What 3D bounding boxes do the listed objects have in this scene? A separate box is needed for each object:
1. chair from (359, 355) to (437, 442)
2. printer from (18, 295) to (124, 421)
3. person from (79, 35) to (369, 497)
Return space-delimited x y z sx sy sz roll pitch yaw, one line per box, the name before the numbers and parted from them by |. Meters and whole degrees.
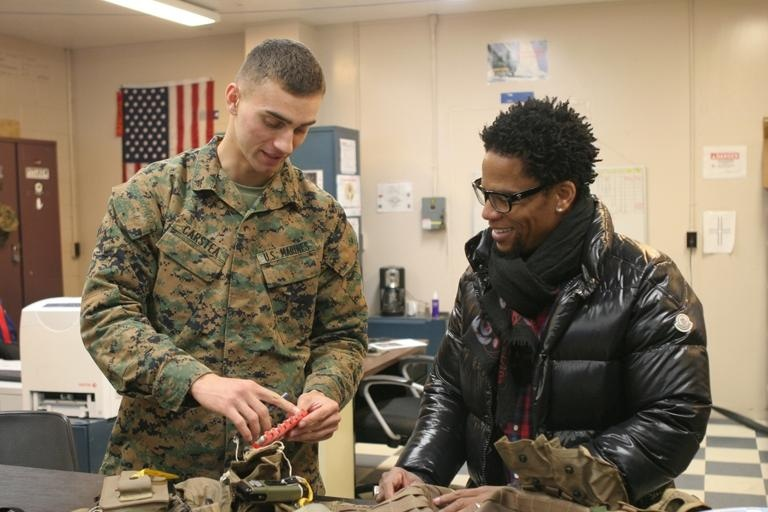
chair | 0.086 1.100 5.203 0.535 0.703 0.613 1 -1 15
printer | -1.799 0.626 4.484 0.631 0.939 0.746 0 -2 8
person | -0.642 0.074 2.841 1.101 1.898 0.567 -2 2 -1
